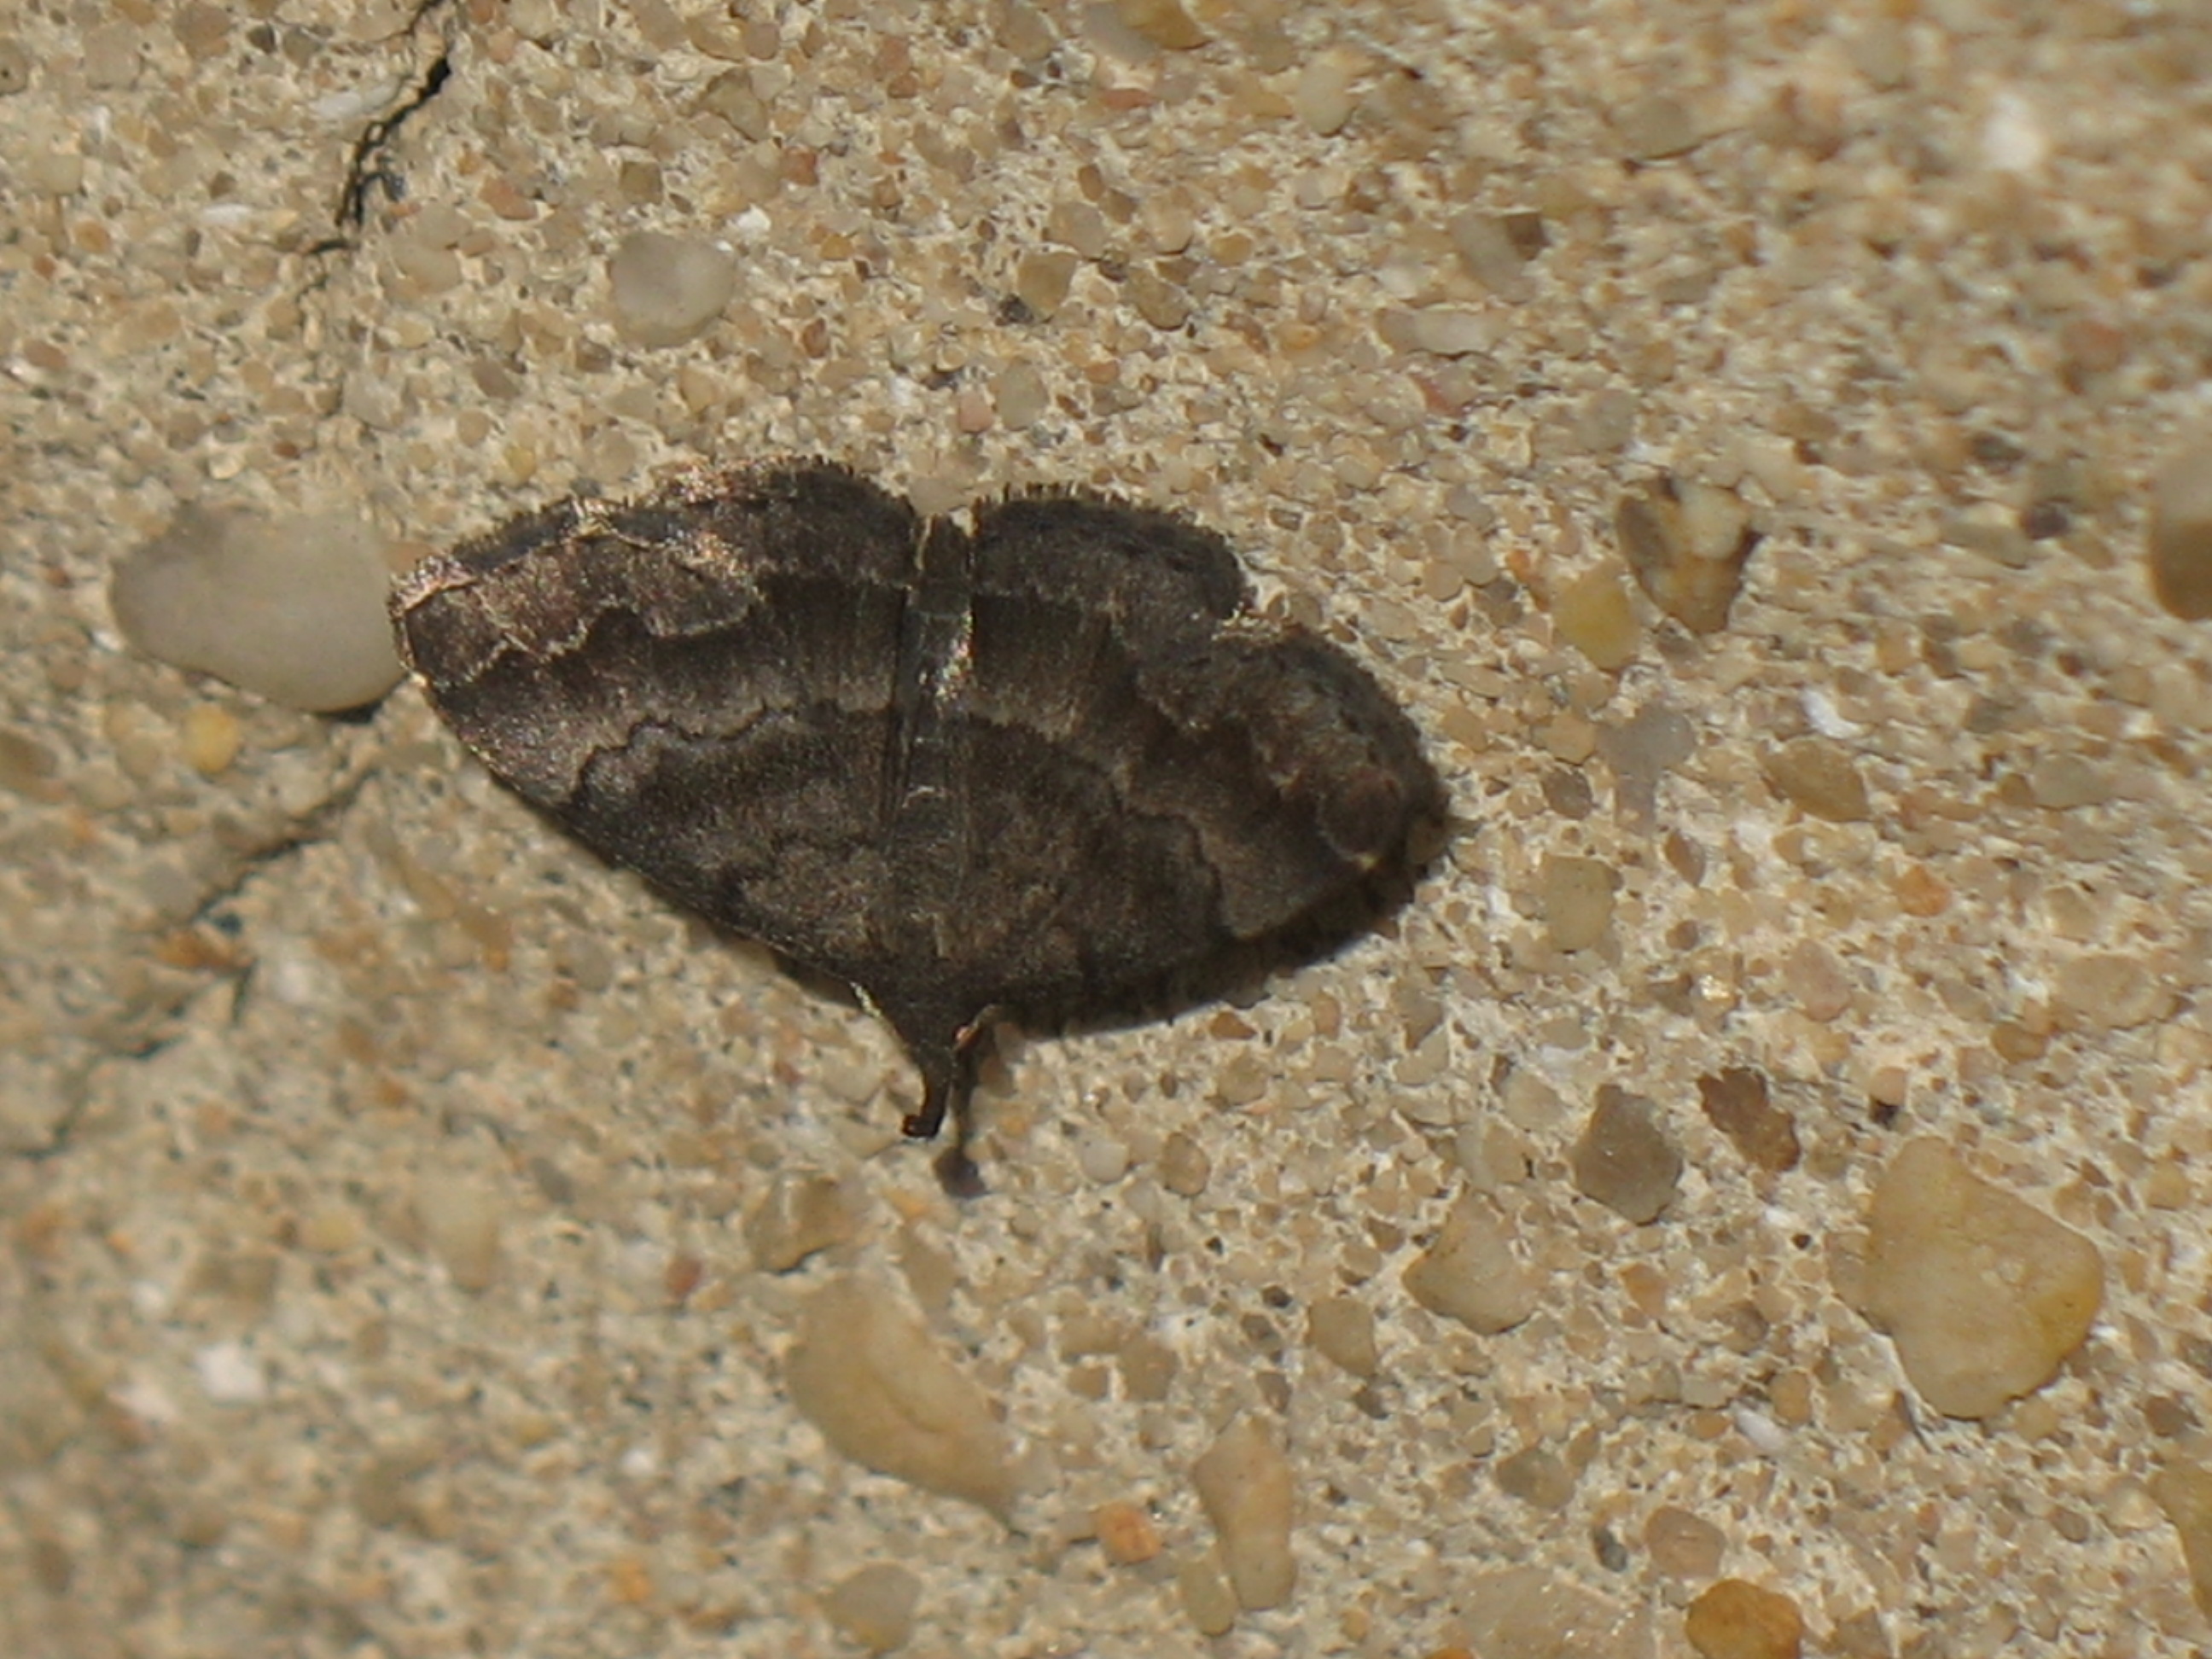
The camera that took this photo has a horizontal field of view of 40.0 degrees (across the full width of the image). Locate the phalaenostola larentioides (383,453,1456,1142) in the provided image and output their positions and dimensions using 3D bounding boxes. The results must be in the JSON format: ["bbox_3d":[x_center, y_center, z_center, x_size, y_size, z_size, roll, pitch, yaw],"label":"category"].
[{"bbox_3d":[-0.094,-0.062,1.430,0.423,0.077,0.303,42,83,3],"label":"phalaenostola larentioides"}]
